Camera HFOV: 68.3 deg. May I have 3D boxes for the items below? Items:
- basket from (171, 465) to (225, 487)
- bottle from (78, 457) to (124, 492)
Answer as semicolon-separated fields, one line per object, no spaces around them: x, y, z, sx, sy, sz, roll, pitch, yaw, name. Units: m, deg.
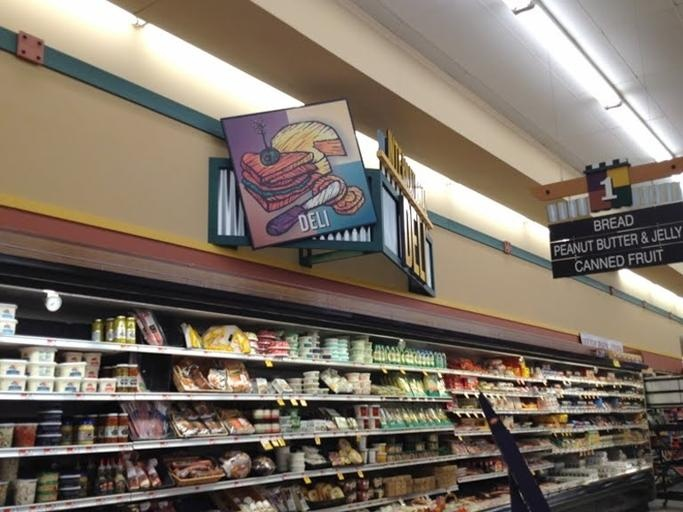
-1.183;1.794;4.095;0.273;0.054;0.179;5;-5;-28;basket
-1.788;1.636;3.746;0.200;0.206;0.072;6;-15;-29;bottle
